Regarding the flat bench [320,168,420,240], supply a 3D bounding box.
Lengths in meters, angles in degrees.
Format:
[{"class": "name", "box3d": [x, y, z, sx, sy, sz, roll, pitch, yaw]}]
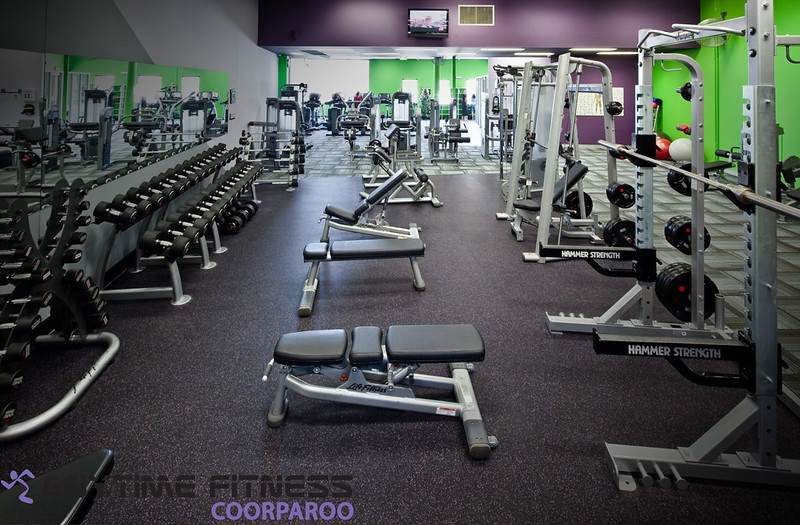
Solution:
[{"class": "flat bench", "box3d": [-0.279, -0.439, 3.943, 0.827, 0.580, 0.598, -8, 17, -31]}]

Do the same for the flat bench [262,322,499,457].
[{"class": "flat bench", "box3d": [-0.095, 0.536, 2.176, 0.766, 0.265, 0.565, -1, 16, -1]}]
